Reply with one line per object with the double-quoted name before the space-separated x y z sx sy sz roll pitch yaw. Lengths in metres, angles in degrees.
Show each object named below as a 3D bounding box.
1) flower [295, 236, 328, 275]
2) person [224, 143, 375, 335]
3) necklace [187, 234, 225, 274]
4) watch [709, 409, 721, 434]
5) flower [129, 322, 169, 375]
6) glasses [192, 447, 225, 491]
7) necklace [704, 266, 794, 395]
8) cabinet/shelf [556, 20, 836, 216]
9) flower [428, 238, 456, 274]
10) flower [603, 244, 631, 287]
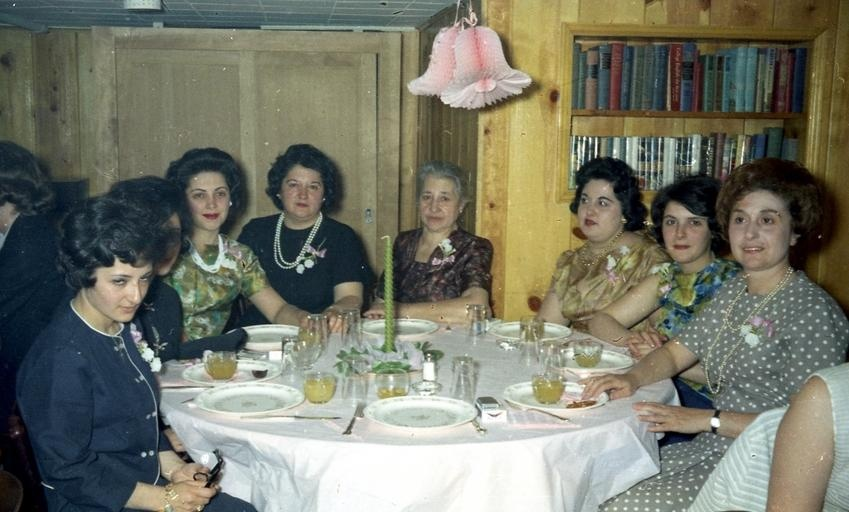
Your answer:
"flower" -0.757 -0.006 4.538 0.164 0.222 0.076 35 -6 9
"person" -0.797 -0.138 4.872 1.329 1.543 1.138 -1 6 -7
"necklace" -1.229 -0.015 3.944 0.146 0.177 0.049 -9 -16 -23
"watch" 1.297 0.744 3.120 0.055 0.091 0.092 12 -15 28
"flower" -1.252 0.423 3.137 0.098 0.241 0.090 -29 12 12
"glasses" -0.914 0.887 2.936 0.122 0.170 0.071 -5 2 -10
"necklace" 1.453 0.374 3.277 0.163 0.647 0.367 34 -15 -10
"cabinet/shelf" 1.733 -0.916 4.501 1.549 0.912 0.248 0 5 -2
"flower" 0.114 0.004 4.505 0.155 0.191 0.073 17 1 36
"flower" 1.122 0.063 4.112 0.173 0.209 0.087 -17 17 -41
